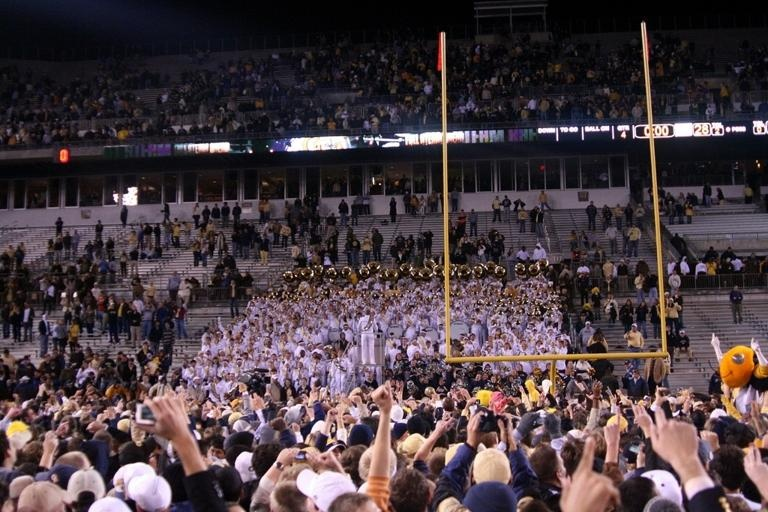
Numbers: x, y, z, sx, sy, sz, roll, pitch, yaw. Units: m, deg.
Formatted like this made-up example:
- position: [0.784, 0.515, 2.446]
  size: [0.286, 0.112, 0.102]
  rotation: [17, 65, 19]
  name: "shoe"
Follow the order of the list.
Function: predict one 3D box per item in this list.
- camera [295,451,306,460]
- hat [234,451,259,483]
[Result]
- position: [-1.959, 4.735, 27.154]
  size: [0.197, 0.054, 0.205]
  rotation: [-8, 10, -44]
  name: "camera"
- position: [-3.276, 5.021, 27.359]
  size: [0.466, 0.692, 0.654]
  rotation: [-7, 20, -1]
  name: "hat"
